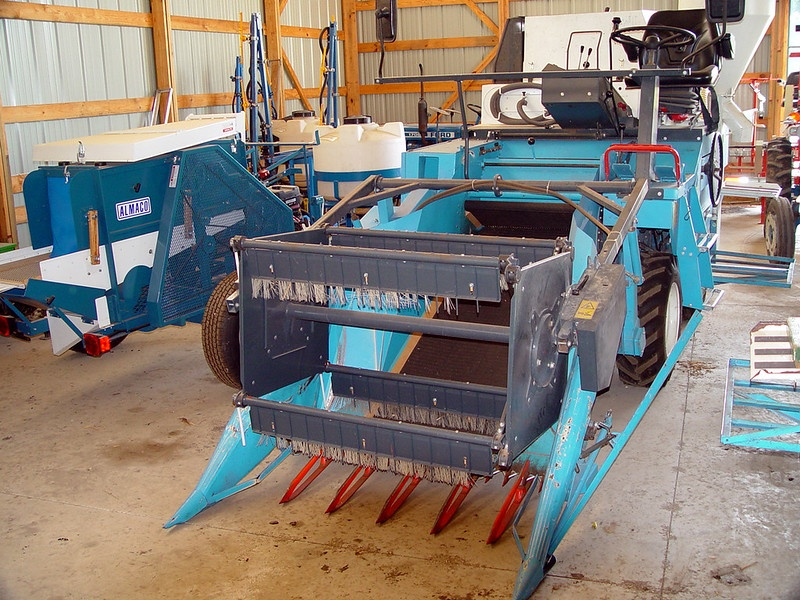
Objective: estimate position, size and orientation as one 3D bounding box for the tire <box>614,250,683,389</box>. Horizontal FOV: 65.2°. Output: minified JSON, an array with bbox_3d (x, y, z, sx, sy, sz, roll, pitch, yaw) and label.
[{"bbox_3d":[1.683,0.056,4.416,0.333,1.109,1.100,1,27,20],"label":"tire"}]

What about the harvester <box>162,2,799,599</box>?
[{"bbox_3d":[0.918,-0.746,4.926,2.696,2.877,5.566,6,18,26],"label":"harvester"}]
